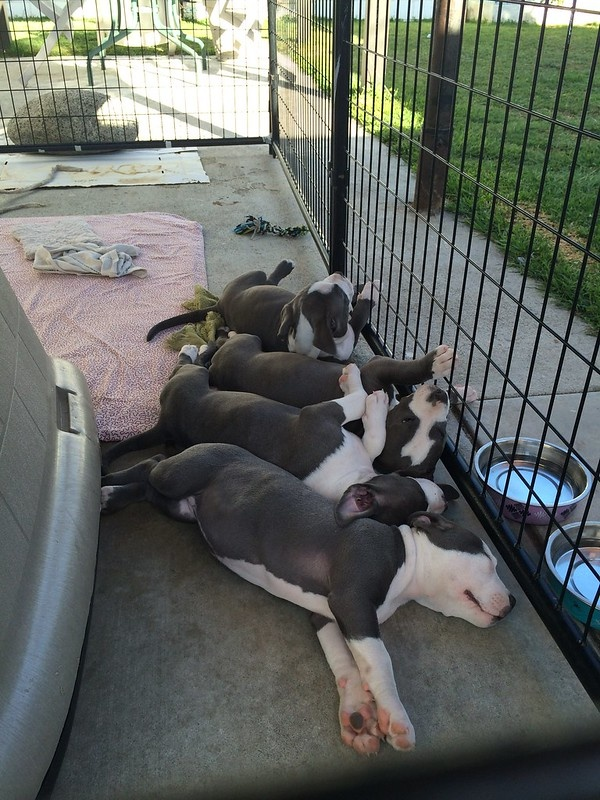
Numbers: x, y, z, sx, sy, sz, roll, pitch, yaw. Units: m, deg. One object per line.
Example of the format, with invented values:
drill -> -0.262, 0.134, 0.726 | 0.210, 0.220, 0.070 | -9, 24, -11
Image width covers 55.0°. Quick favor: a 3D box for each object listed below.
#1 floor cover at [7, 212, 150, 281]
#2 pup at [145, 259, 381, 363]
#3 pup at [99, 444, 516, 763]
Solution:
floor cover -> -1.527, -1.051, 3.974 | 0.651, 0.167, 0.942 | -13, 33, -25
pup -> -0.093, -0.464, 2.781 | 0.841, 0.374, 0.555 | 10, 61, 12
pup -> 0.226, 0.444, 2.069 | 1.046, 0.669, 1.337 | -29, 49, -30
